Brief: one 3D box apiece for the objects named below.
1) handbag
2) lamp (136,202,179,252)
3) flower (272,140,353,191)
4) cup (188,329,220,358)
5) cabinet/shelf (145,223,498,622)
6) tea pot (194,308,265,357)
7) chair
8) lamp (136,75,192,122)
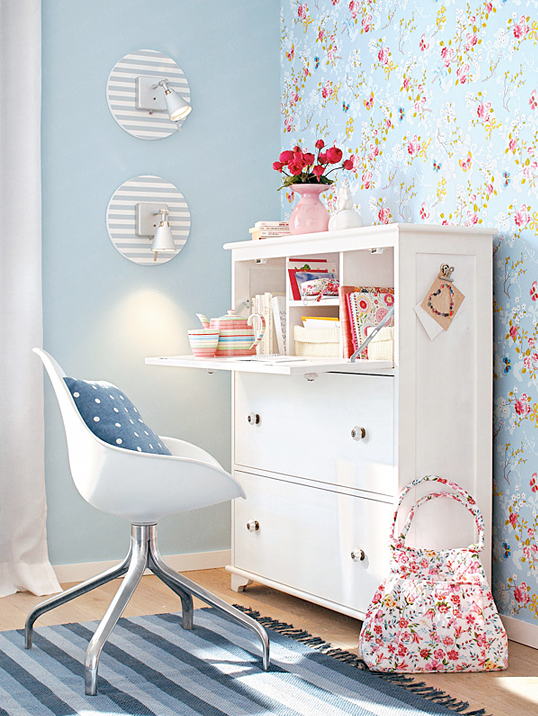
[{"bbox_3d":[0.393,0.621,1.606,0.354,0.268,0.123,1,-12,0],"label":"handbag"},{"bbox_3d":[-0.445,-0.533,2.636,0.142,0.187,0.141,-2,7,-40],"label":"lamp"},{"bbox_3d":[0.185,-0.683,2.290,0.212,0.108,0.212,-14,13,12],"label":"flower"},{"bbox_3d":[-0.205,-0.046,2.129,0.098,0.071,0.093,-1,-3,0],"label":"cup"},{"bbox_3d":[0.134,0.227,2.066,0.725,1.200,0.956,-3,2,-33],"label":"cabinet/shelf"},{"bbox_3d":[-0.105,-0.077,2.136,0.226,0.140,0.140,1,2,27],"label":"tea pot"},{"bbox_3d":[-0.304,0.353,1.919,0.800,0.938,0.727,-2,-1,-14],"label":"chair"},{"bbox_3d":[-0.395,-1.028,2.630,0.164,0.168,0.234,-7,16,-41],"label":"lamp"}]
